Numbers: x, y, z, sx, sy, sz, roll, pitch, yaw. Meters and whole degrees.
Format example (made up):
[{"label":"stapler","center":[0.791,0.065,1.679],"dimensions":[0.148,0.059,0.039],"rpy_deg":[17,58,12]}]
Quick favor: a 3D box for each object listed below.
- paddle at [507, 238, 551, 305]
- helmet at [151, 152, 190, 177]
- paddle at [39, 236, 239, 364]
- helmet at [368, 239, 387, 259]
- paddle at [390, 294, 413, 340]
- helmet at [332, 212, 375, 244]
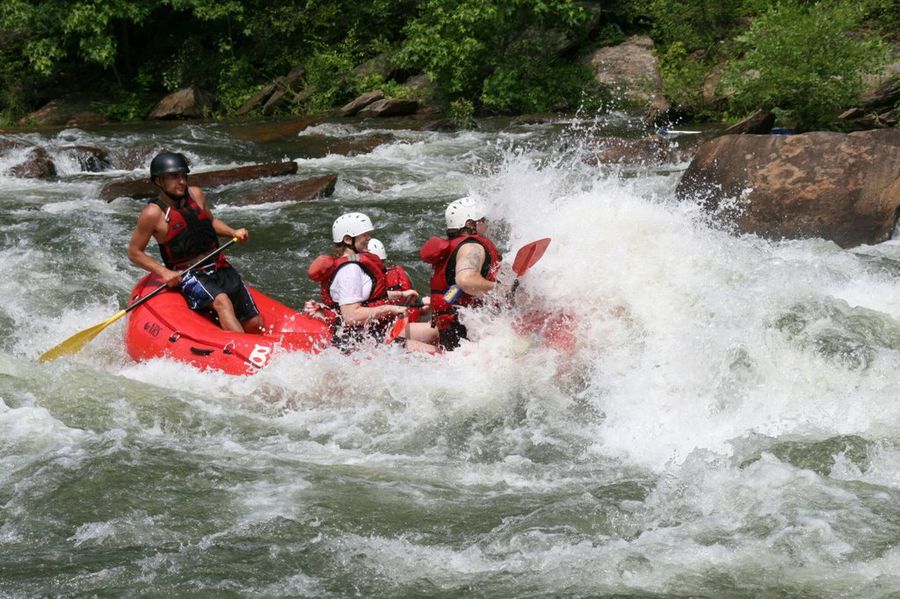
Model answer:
[{"label":"paddle","center":[0.998,-0.414,17.892],"dimensions":[0.363,0.940,0.174],"rpy_deg":[29,3,10]},{"label":"helmet","center":[-3.990,-1.848,18.146],"dimensions":[0.410,0.286,0.488],"rpy_deg":[-25,34,-35]},{"label":"paddle","center":[-4.427,0.071,18.562],"dimensions":[3.589,0.373,0.222],"rpy_deg":[-29,3,-13]},{"label":"helmet","center":[-1.005,-0.699,18.394],"dimensions":[0.248,0.258,0.297],"rpy_deg":[-17,-23,-10]},{"label":"paddle","center":[-0.662,0.228,18.000],"dimensions":[0.238,0.558,0.433],"rpy_deg":[13,1,-7]},{"label":"helmet","center":[-1.317,-1.021,18.041],"dimensions":[0.542,0.367,0.401],"rpy_deg":[3,3,12]}]
